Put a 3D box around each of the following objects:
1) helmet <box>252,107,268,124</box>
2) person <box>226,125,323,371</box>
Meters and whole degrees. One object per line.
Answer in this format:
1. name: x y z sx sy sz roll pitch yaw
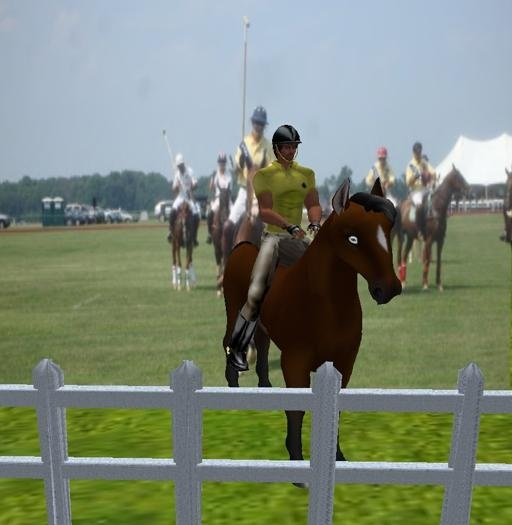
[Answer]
1. helmet: 0.058 -1.673 13.205 0.175 0.203 0.211 -4 5 -1
2. person: 0.165 -0.112 9.867 0.851 2.089 0.459 -3 4 4
